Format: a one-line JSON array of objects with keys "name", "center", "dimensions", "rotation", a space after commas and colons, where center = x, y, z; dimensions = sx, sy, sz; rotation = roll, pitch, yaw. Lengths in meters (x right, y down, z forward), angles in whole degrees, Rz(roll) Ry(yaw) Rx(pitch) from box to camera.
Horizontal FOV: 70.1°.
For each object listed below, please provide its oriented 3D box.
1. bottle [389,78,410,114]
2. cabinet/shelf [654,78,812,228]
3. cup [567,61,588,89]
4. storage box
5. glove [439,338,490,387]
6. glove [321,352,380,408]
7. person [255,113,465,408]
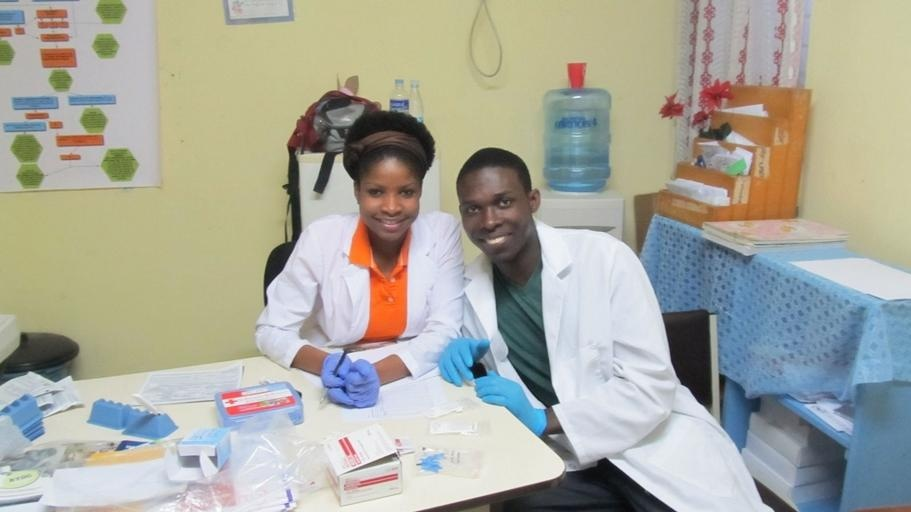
[{"name": "bottle", "center": [-0.346, -0.976, 3.940], "dimensions": [0.123, 0.206, 0.337], "rotation": [-5, 13, -4]}, {"name": "cabinet/shelf", "center": [1.480, -0.546, 3.571], "dimensions": [0.608, 0.656, 0.565], "rotation": [-17, 23, -18]}, {"name": "cup", "center": [0.774, -1.164, 4.200], "dimensions": [0.098, 0.171, 0.162], "rotation": [-2, 14, 7]}, {"name": "storage box", "center": [1.614, 0.932, 3.084], "dimensions": [0.334, 0.352, 0.527], "rotation": [-8, 17, -19]}, {"name": "glove", "center": [0.069, 0.434, 2.716], "dimensions": [0.194, 0.196, 0.159], "rotation": [6, -6, -35]}, {"name": "glove", "center": [-0.410, 0.505, 2.626], "dimensions": [0.180, 0.221, 0.113], "rotation": [-40, -17, -2]}, {"name": "person", "center": [-0.374, -0.010, 2.863], "dimensions": [1.071, 1.144, 0.807], "rotation": [-8, 24, -16]}]
